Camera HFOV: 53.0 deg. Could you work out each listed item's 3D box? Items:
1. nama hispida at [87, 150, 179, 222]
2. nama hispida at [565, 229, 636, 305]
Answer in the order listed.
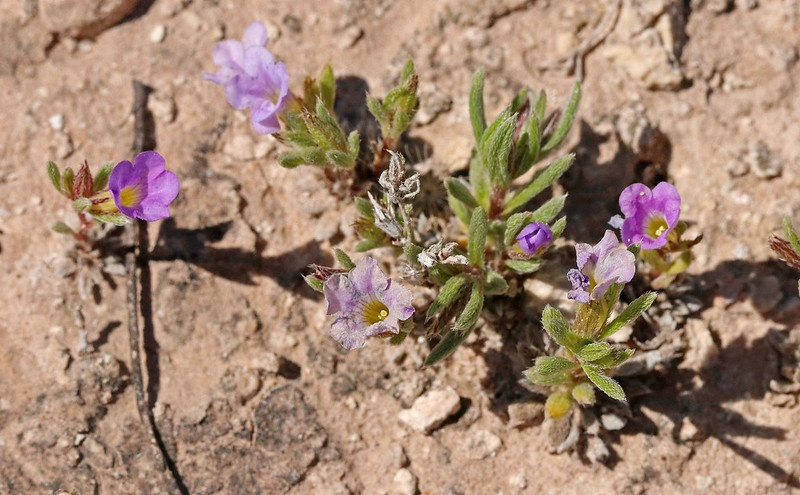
[{"bbox_3d":[-2.292,-0.551,7.155,0.485,0.361,0.636,22,81,8],"label":"nama hispida"},{"bbox_3d":[1.715,0.211,6.720,0.539,0.322,0.649,2,107,-3],"label":"nama hispida"}]
